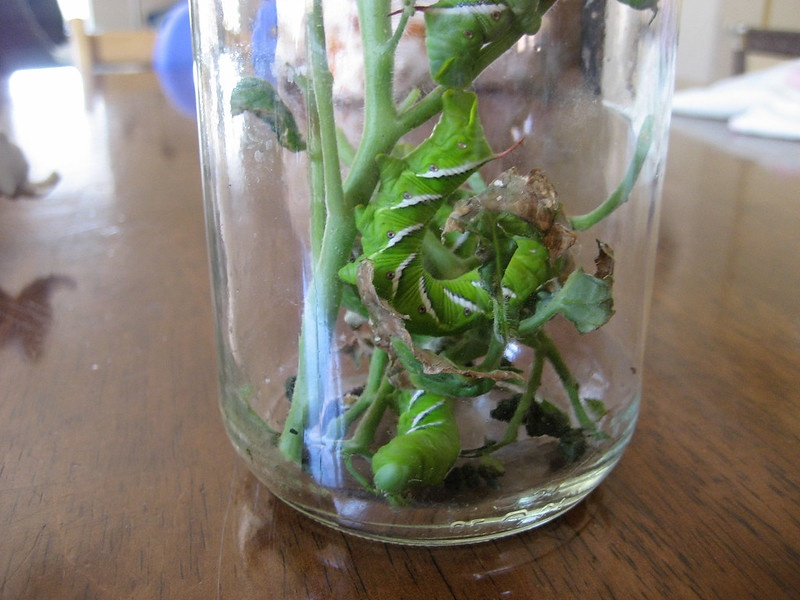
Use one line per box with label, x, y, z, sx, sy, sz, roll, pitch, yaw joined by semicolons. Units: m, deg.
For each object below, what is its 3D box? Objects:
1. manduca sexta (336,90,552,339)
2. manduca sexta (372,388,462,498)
manduca sexta;0.013;-0.041;0.396;0.084;0.126;0.040;-14;31;-18
manduca sexta;0.009;0.083;0.420;0.049;0.041;0.054;-2;32;2
